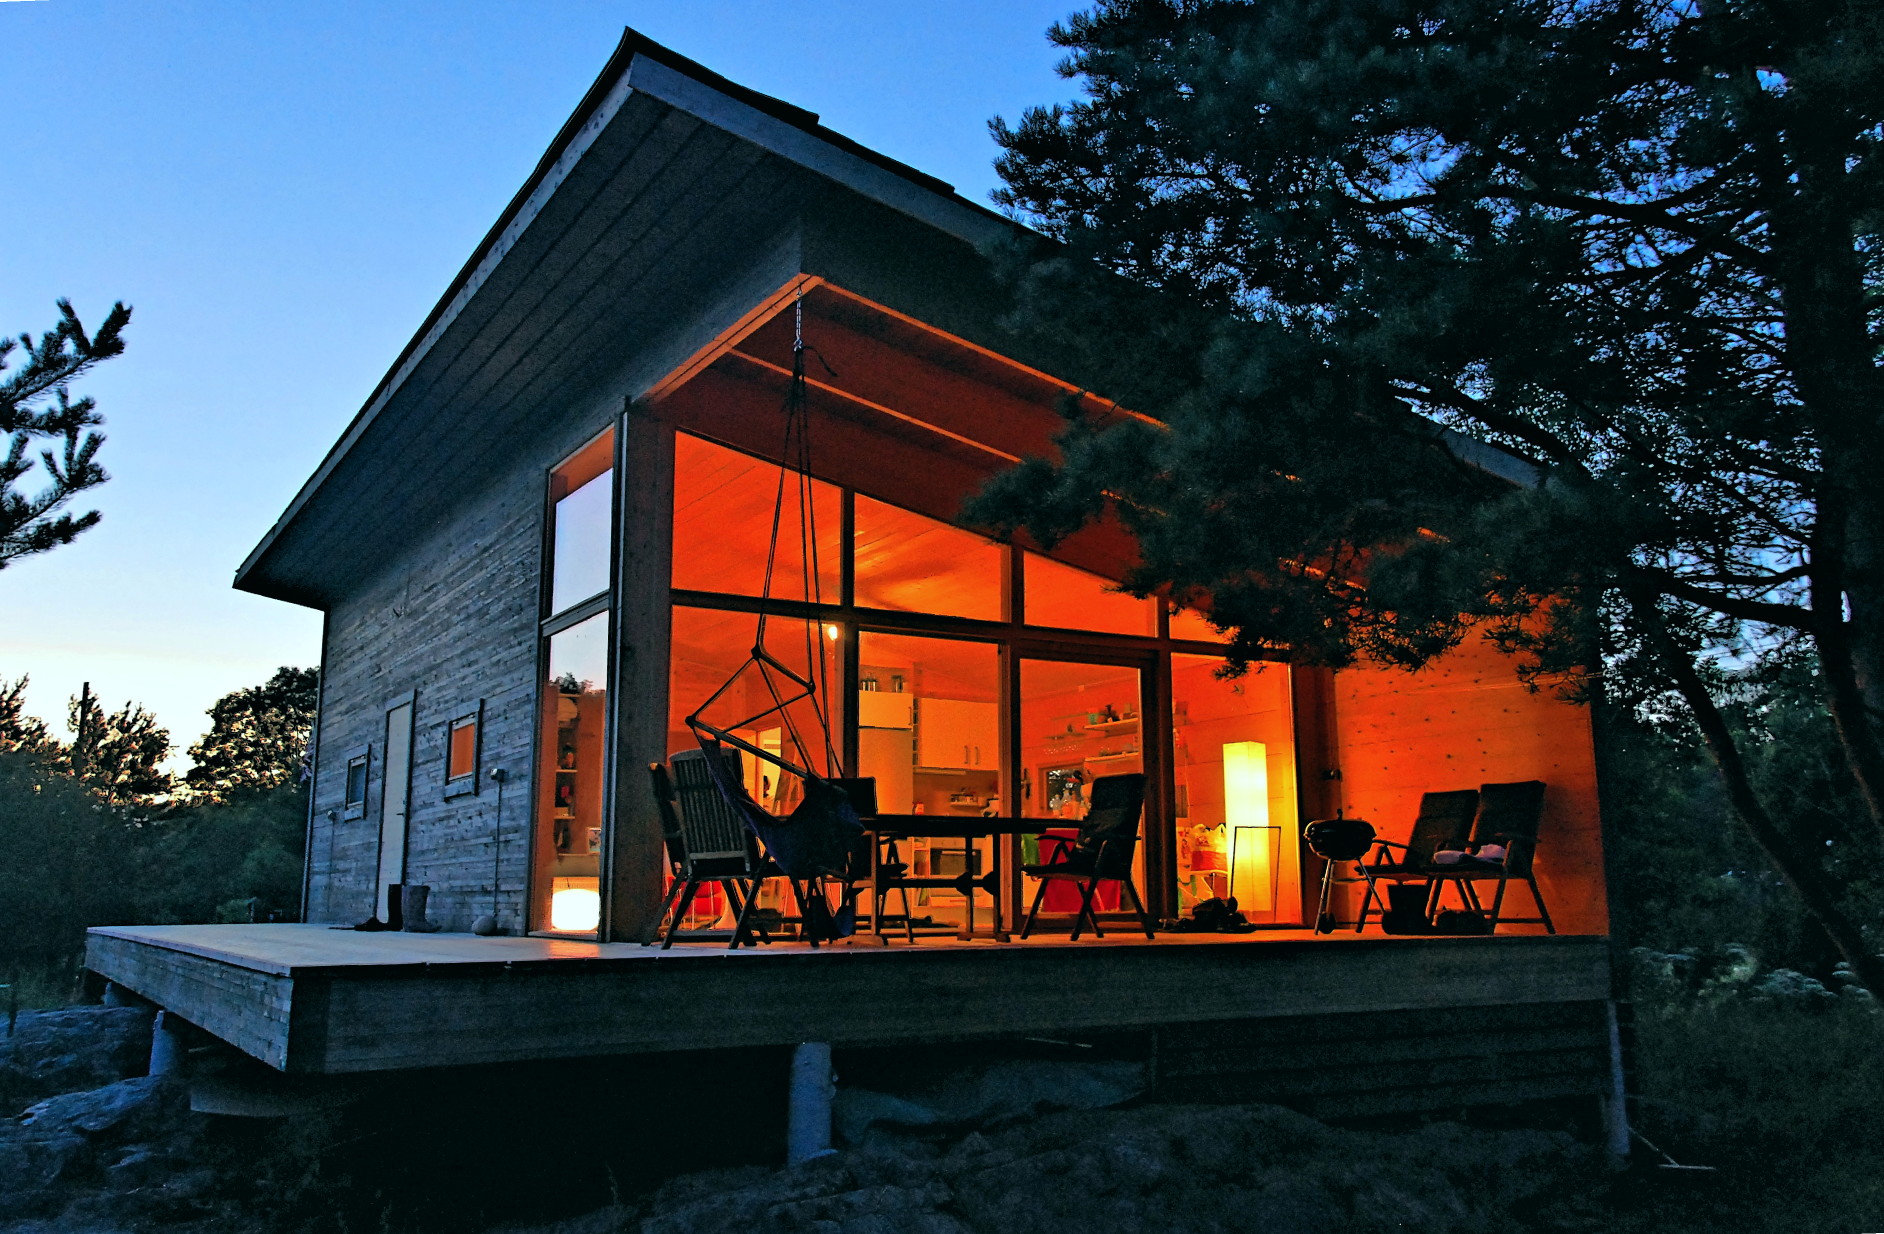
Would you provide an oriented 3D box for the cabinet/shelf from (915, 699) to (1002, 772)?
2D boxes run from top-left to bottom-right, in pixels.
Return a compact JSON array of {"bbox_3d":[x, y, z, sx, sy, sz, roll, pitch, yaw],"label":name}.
[{"bbox_3d":[0.109,1.011,11.626,0.627,0.444,0.235,2,-4,-14],"label":"cabinet/shelf"}]
